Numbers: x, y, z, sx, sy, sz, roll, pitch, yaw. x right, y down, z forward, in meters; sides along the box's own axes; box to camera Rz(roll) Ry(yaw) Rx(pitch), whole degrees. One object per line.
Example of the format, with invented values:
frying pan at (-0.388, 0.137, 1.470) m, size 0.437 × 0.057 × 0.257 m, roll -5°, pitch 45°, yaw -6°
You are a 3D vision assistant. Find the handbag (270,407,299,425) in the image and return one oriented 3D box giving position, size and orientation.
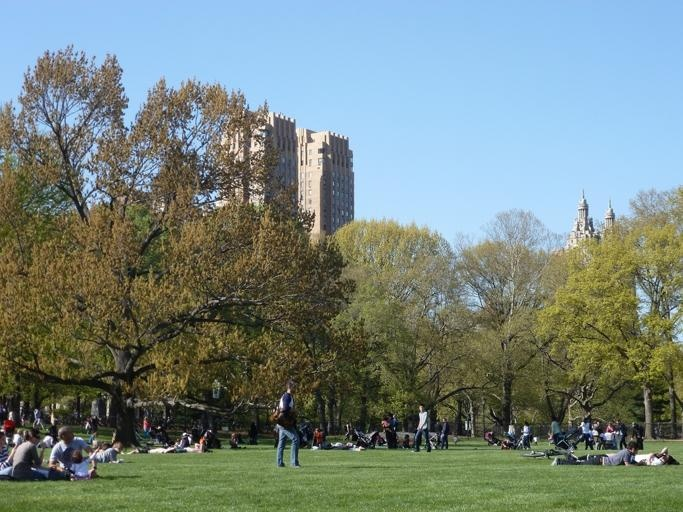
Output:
handbag at (-2.542, 7.418, 69.365) m, size 0.849 × 0.623 × 0.725 m, roll -1°, pitch -4°, yaw 3°
